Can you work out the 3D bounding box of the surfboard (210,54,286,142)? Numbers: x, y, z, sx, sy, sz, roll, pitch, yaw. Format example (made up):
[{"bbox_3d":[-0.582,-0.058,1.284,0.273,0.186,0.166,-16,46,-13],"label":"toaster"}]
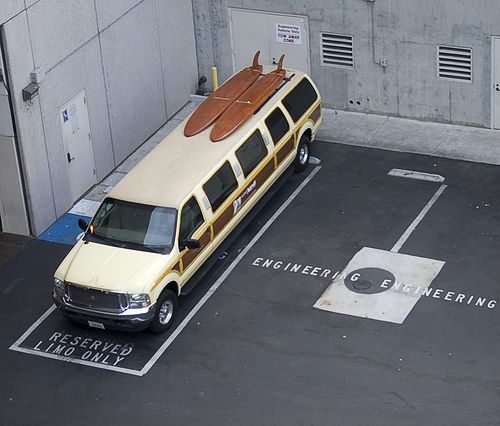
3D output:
[{"bbox_3d":[-0.097,-2.909,14.589,0.795,1.106,3.841,10,37,19],"label":"surfboard"}]
